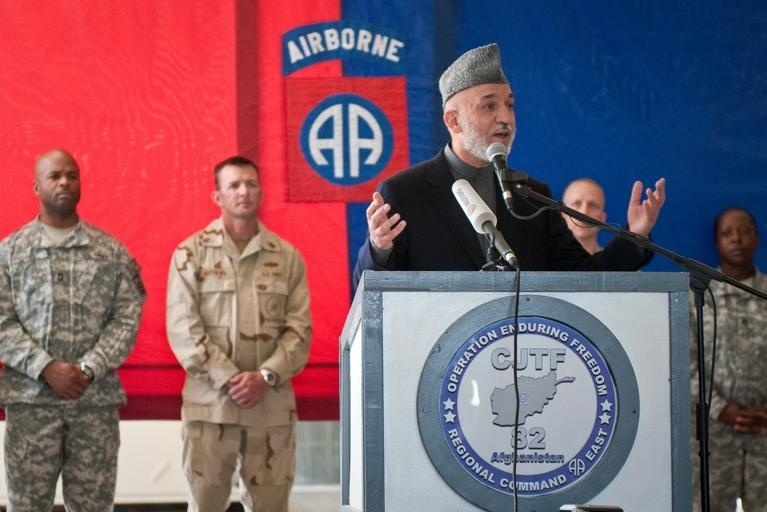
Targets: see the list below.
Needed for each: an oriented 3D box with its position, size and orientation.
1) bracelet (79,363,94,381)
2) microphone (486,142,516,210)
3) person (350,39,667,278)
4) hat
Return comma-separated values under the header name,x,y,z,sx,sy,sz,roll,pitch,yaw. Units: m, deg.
name,x,y,z,sx,sy,sz,roll,pitch,yaw
bracelet,-1.977,0.783,9.679,0.098,0.116,0.035,3,-12,-24
microphone,0.644,-0.442,8.022,0.122,0.398,0.106,3,-39,-11
person,0.757,-0.593,9.359,1.538,2.033,1.060,3,-14,-15
hat,0.528,-1.122,8.644,0.305,0.193,0.410,0,-13,-34
